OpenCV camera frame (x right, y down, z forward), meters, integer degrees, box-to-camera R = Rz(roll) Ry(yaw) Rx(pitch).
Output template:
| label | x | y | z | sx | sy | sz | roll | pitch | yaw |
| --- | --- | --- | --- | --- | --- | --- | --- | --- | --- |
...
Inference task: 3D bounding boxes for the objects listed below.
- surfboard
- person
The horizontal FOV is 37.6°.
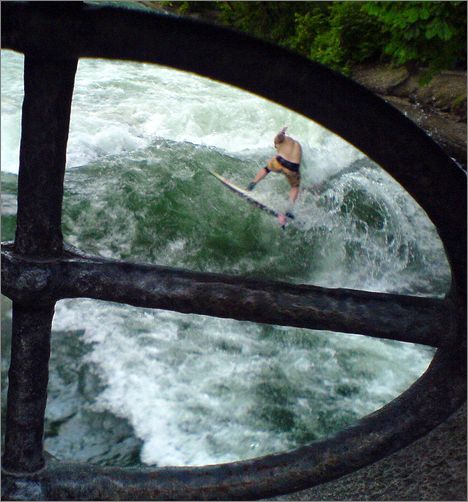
| label | x | y | z | sx | sy | sz | roll | pitch | yaw |
| --- | --- | --- | --- | --- | --- | --- | --- | --- | --- |
| surfboard | 0.125 | -0.721 | 8.663 | 0.141 | 0.127 | 1.103 | 21 | 19 | -46 |
| person | 0.650 | -1.099 | 8.851 | 0.795 | 1.112 | 0.452 | 33 | 33 | 17 |
